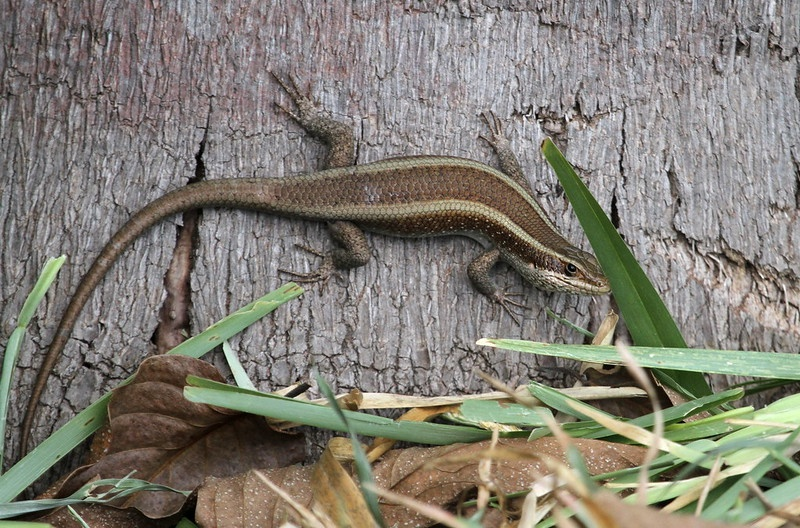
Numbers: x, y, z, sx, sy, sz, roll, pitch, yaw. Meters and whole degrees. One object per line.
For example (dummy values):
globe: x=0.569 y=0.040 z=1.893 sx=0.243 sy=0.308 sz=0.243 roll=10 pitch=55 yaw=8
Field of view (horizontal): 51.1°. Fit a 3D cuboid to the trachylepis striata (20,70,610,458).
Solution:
trachylepis striata: x=-0.315 y=-0.028 z=2.946 sx=2.082 sy=0.231 sz=1.350 roll=2 pitch=74 yaw=-2
